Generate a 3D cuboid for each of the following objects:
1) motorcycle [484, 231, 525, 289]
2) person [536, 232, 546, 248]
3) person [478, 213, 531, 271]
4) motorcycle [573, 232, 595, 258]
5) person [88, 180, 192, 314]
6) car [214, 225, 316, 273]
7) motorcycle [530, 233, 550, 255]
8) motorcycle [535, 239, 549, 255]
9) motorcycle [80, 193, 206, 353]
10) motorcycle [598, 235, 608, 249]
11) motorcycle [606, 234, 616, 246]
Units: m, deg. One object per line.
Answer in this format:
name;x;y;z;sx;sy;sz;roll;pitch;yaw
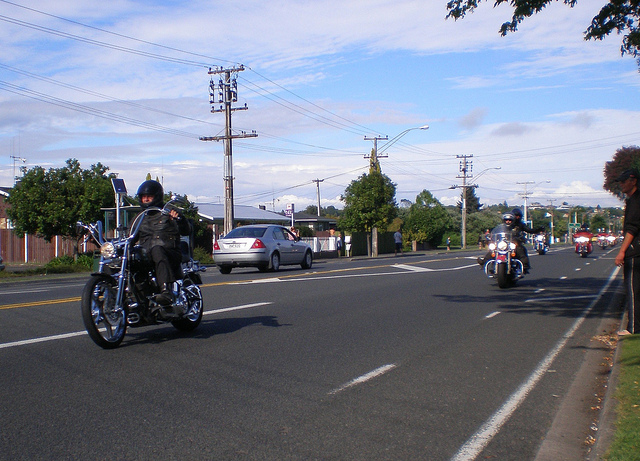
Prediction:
motorcycle;5.145;0.798;16.228;0.890;1.554;0.723;-3;2;-16
person;13.629;0.565;36.201;0.313;0.922;0.787;4;7;2
person;5.302;0.211;16.902;0.994;1.175;1.981;-3;-4;22
motorcycle;15.799;0.797;35.325;0.642;1.462;1.717;0;3;38
person;-2.403;0.179;8.483;1.247;1.789;1.013;-8;-3;27
car;-1.731;0.667;22.613;1.737;1.810;4.871;0;2;39
motorcycle;14.963;0.935;39.900;1.371;1.804;3.201;-1;-3;19
motorcycle;14.767;1.047;38.829;0.864;1.052;1.838;4;-1;21
motorcycle;-2.553;0.582;8.511;1.809;2.114;1.118;-3;3;-32
motorcycle;27.083;1.041;56.024;0.776;0.916;1.561;2;6;17
motorcycle;30.924;1.029;62.630;1.059;1.148;1.795;1;7;17
